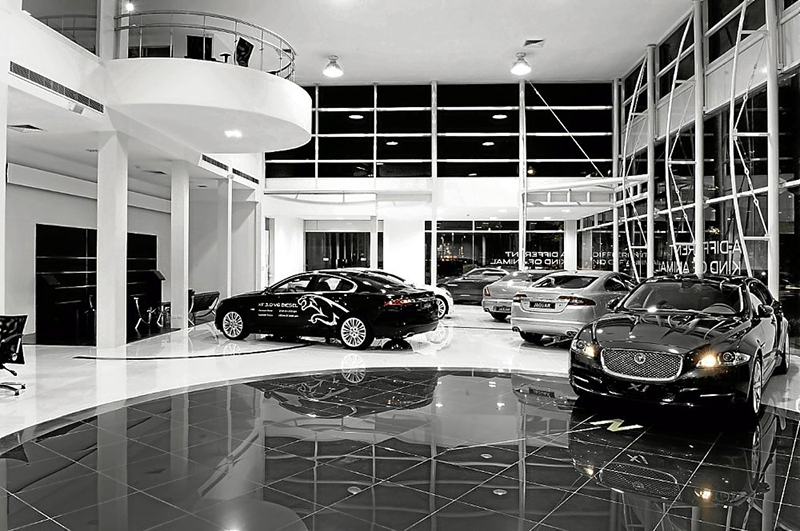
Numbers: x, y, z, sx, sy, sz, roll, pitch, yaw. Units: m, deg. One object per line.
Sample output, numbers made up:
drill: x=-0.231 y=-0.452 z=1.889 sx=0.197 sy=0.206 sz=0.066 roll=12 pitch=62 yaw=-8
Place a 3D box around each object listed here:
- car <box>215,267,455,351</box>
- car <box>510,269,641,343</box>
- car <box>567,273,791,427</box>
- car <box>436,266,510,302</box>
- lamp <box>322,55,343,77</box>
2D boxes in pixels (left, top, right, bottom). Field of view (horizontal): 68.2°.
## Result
car: x=-1.573 y=0.881 z=12.978 sx=4.543 sy=1.333 sz=1.803 roll=2 pitch=-1 yaw=18
car: x=3.398 y=0.874 z=12.025 sx=1.283 sy=0.961 sz=2.847 roll=-2 pitch=4 yaw=33
car: x=4.092 y=1.138 z=8.574 sx=2.087 sy=1.700 sz=3.065 roll=8 pitch=12 yaw=43
car: x=2.642 y=0.680 z=21.237 sx=2.584 sy=0.848 sz=1.137 roll=3 pitch=2 yaw=13
lamp: x=-2.068 y=-6.132 z=18.178 sx=0.503 sy=0.674 sz=1.828 roll=-1 pitch=9 yaw=-5
